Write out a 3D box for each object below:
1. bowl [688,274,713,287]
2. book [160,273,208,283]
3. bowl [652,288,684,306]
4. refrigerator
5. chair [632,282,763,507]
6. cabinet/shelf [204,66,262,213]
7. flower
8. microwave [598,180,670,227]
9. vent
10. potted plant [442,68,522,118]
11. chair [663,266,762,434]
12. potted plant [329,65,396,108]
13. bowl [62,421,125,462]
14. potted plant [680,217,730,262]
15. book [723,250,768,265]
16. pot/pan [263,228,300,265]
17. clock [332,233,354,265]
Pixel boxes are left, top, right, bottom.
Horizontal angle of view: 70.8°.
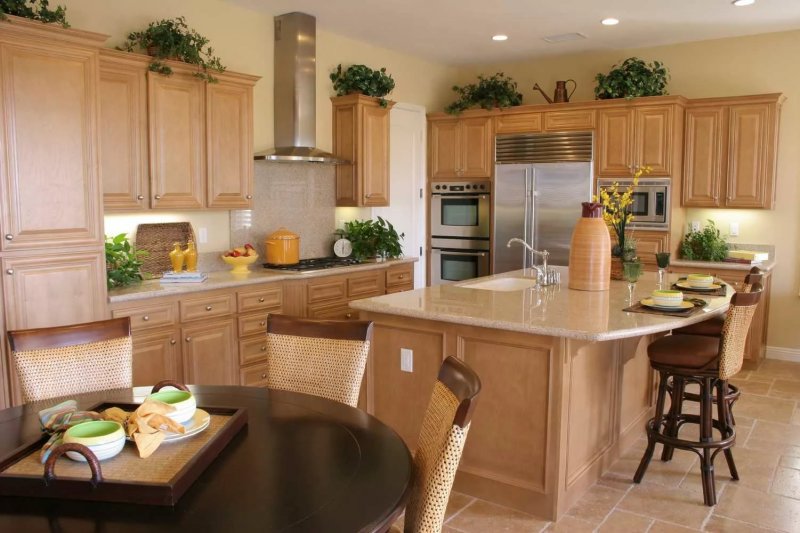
[{"bbox_3d":[2.148,0.102,4.059,0.110,0.048,0.111,-1,0,0],"label":"bowl"},{"bbox_3d":[-1.676,0.089,4.381,0.316,0.067,0.131,-4,11,-19],"label":"book"},{"bbox_3d":[1.652,0.197,3.505,0.179,0.086,0.144,-1,11,-3],"label":"bowl"},{"bbox_3d":[1.492,-0.704,6.844,1.153,1.796,0.716,-6,28,-10],"label":"refrigerator"},{"bbox_3d":[2.005,0.722,3.798,0.600,1.301,1.131,7,13,29],"label":"chair"},{"bbox_3d":[-1.294,-1.085,4.987,0.808,1.196,0.508,16,17,42],"label":"cabinet/shelf"},{"bbox_3d":[1.763,-0.373,4.438,0.422,0.615,0.306,-12,13,-6],"label":"flower"},{"bbox_3d":[2.598,-0.724,6.178,0.666,0.493,0.346,7,28,36],"label":"microwave"},{"bbox_3d":[-0.914,-1.711,5.383,0.659,1.406,0.792,2,12,11],"label":"vent"},{"bbox_3d":[1.109,-2.069,6.762,0.816,0.300,0.761,-9,13,-21],"label":"potted plant"},{"bbox_3d":[2.039,0.606,3.886,0.723,0.935,0.649,4,13,41],"label":"chair"},{"bbox_3d":[-0.387,-1.946,5.948,0.583,0.234,0.530,5,7,31],"label":"potted plant"},{"bbox_3d":[-1.087,0.631,2.014,0.196,0.086,0.208,3,3,0],"label":"bowl"},{"bbox_3d":[3.309,-0.288,6.087,0.335,0.232,0.361,2,-2,-19],"label":"potted plant"},{"bbox_3d":[3.580,-0.103,5.861,0.469,0.109,0.308,-8,13,-37],"label":"book"},{"bbox_3d":[-1.107,-0.198,5.311,0.302,0.323,0.461,8,12,34],"label":"pot/pan"},{"bbox_3d":[-0.591,-0.195,5.883,0.242,0.277,0.088,-4,4,-21],"label":"clock"}]
